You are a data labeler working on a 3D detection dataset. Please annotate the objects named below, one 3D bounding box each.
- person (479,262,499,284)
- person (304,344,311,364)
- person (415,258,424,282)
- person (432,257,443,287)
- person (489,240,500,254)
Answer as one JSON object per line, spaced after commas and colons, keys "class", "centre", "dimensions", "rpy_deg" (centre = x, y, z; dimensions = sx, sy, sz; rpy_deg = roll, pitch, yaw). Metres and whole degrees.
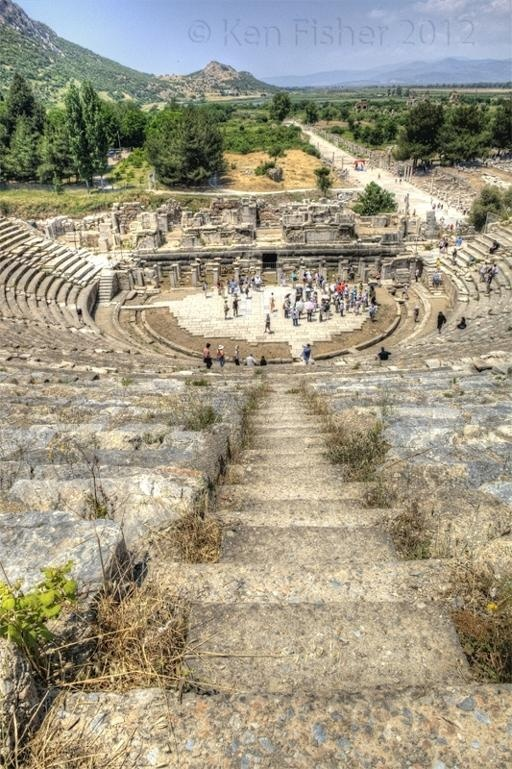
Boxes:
{"class": "person", "centre": [11.358, -5.484, 24.254], "dimensions": [0.794, 1.098, 1.173], "rpy_deg": [26, 29, 33]}
{"class": "person", "centre": [1.887, -1.119, 18.845], "dimensions": [0.306, 0.737, 0.583], "rpy_deg": [-2, 18, 2]}
{"class": "person", "centre": [9.967, -7.067, 30.329], "dimensions": [0.306, 1.302, 1.274], "rpy_deg": [1, 59, 16]}
{"class": "person", "centre": [10.562, -6.524, 28.887], "dimensions": [0.604, 1.473, 1.827], "rpy_deg": [4, 19, 19]}
{"class": "person", "centre": [12.614, -7.244, 26.247], "dimensions": [0.496, 0.543, 1.152], "rpy_deg": [6, 21, 24]}
